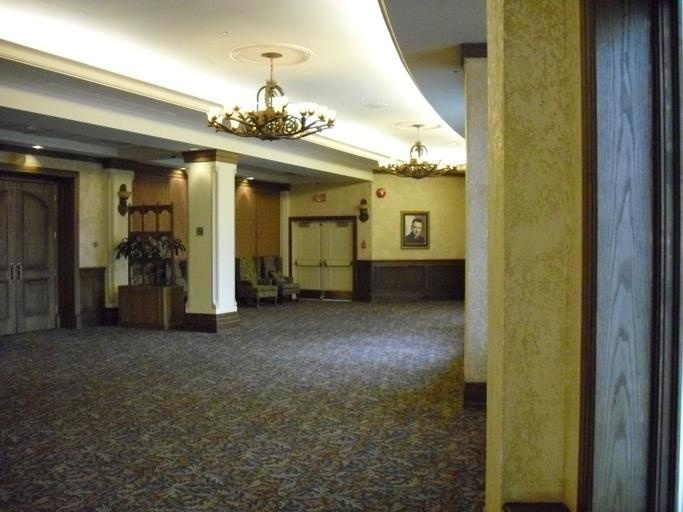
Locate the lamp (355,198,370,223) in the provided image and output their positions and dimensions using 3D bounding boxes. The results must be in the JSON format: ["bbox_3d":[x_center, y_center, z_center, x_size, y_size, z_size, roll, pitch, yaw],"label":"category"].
[{"bbox_3d":[0.632,-1.299,15.590,0.323,0.691,0.202,0,2,10],"label":"lamp"}]

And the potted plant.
[{"bbox_3d":[-3.943,0.580,10.907,1.868,2.104,0.669,0,-3,14],"label":"potted plant"}]

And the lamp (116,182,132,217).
[{"bbox_3d":[-4.592,-1.193,11.438,0.269,0.677,0.340,-1,2,-40],"label":"lamp"}]

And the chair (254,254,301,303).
[{"bbox_3d":[-1.786,0.672,15.665,1.129,1.190,1.140,1,3,-3],"label":"chair"}]

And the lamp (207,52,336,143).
[{"bbox_3d":[-1.066,-2.193,7.677,1.470,1.060,1.610,-1,2,-35],"label":"lamp"}]

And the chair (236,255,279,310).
[{"bbox_3d":[-2.324,0.663,14.687,1.027,1.224,1.003,3,3,20],"label":"chair"}]

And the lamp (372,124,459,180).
[{"bbox_3d":[1.785,-2.556,13.207,1.292,0.848,1.284,-1,0,-31],"label":"lamp"}]
